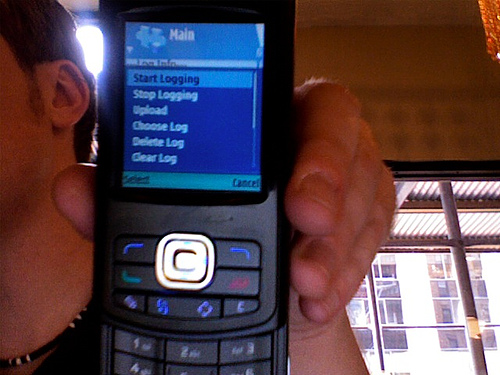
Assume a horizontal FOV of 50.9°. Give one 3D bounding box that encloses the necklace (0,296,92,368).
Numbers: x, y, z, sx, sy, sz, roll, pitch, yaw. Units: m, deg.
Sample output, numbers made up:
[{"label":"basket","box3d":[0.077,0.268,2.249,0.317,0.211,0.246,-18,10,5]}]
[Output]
[{"label":"necklace","box3d":[-0.332,0.228,0.810,0.117,0.024,0.110,-31,80,-26]}]
